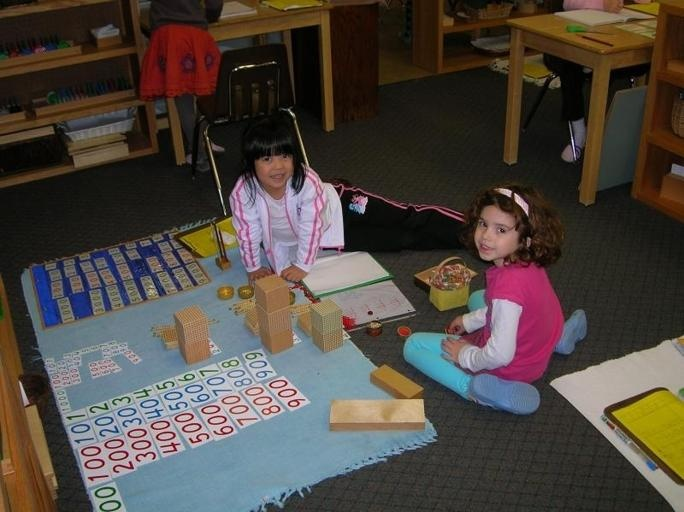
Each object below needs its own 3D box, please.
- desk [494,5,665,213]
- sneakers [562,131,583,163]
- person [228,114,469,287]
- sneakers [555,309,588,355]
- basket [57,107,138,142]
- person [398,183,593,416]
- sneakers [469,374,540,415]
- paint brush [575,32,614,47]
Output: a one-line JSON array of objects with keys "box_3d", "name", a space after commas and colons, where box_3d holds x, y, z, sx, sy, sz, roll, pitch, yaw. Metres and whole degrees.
[{"box_3d": [1.632, -1.050, 3.719, 1.231, 1.148, 1.220, -19, 38, -24], "name": "desk"}, {"box_3d": [1.749, -0.834, 3.777, 0.100, 0.124, 0.304, 17, 47, 24], "name": "sneakers"}, {"box_3d": [0.092, -0.274, 2.802, 0.885, 0.713, 1.221, 35, 49, 24], "name": "person"}, {"box_3d": [1.048, 0.345, 2.295, 0.102, 0.105, 0.283, 18, 51, 25], "name": "sneakers"}, {"box_3d": [-1.919, -1.035, 3.950, 0.451, 0.111, 0.305, -19, 38, -14], "name": "basket"}, {"box_3d": [0.680, 0.101, 2.130, 0.701, 0.822, 0.710, 11, 29, 31], "name": "person"}, {"box_3d": [0.658, 0.540, 2.053, 0.277, 0.136, 0.116, 11, -2, 17], "name": "sneakers"}, {"box_3d": [1.564, -1.330, 3.074, 0.238, 0.008, 0.086, 33, 83, 33], "name": "paint brush"}]
